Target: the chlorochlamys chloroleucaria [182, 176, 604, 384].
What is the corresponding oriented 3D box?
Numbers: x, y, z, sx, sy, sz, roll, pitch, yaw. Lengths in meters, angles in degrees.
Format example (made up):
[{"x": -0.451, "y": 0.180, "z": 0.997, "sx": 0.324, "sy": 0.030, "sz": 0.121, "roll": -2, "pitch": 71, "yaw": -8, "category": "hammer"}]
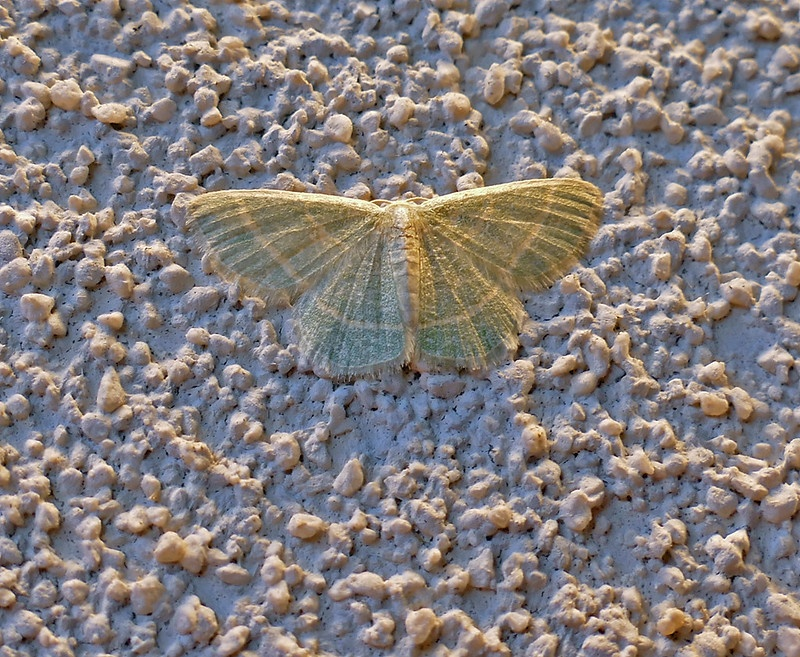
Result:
[{"x": 0.018, "y": -0.032, "z": 2.329, "sx": 0.505, "sy": 0.044, "sz": 0.315, "roll": 1, "pitch": 82, "yaw": 1, "category": "chlorochlamys chloroleucaria"}]
